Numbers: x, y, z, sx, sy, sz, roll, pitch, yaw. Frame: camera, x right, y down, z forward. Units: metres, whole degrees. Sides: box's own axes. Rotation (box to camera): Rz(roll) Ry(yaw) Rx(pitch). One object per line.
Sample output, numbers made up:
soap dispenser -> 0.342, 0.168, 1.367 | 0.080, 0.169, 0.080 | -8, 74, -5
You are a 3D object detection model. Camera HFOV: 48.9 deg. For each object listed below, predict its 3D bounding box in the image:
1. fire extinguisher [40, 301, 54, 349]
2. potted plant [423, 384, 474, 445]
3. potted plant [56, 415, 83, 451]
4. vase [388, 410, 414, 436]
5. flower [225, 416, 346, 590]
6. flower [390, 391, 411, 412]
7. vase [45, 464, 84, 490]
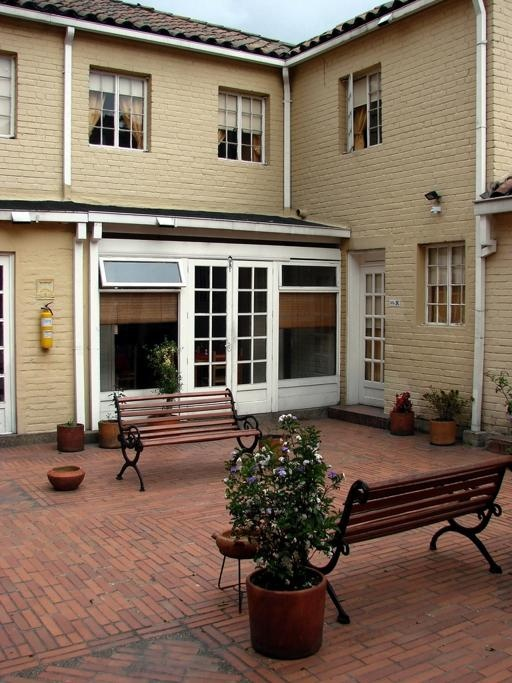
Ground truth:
fire extinguisher -> -3.127, -0.228, 8.471 | 0.200, 0.751, 0.203 | 1, -2, -20
potted plant -> 2.924, 1.181, 9.078 | 0.871, 0.955, 0.770 | 1, 0, -17
potted plant -> -2.717, 1.389, 8.373 | 0.461, 0.450, 0.429 | 1, 0, -19
vase -> 2.473, 1.360, 9.430 | 0.408, 0.367, 0.388 | 2, -3, -23
flower -> 0.130, 0.854, 2.969 | 0.514, 0.789, 0.381 | -1, -2, 38
flower -> 2.486, 0.990, 9.544 | 0.387, 0.381, 0.309 | 0, -2, -32
vase -> -2.104, 1.538, 6.280 | 0.369, 0.260, 0.369 | 0, -2, -19
